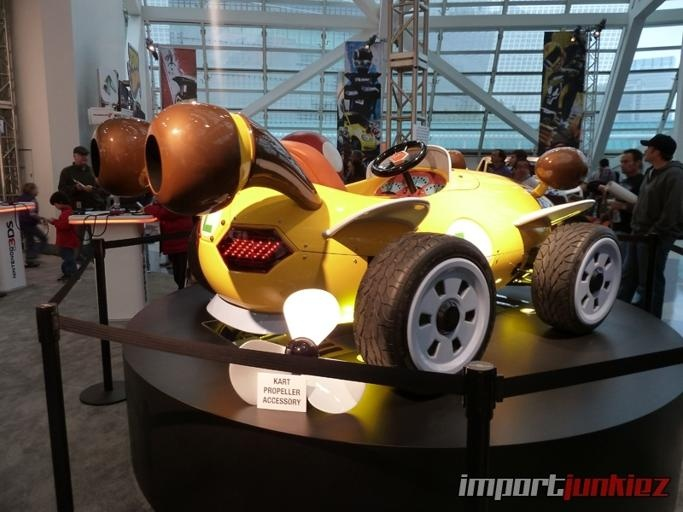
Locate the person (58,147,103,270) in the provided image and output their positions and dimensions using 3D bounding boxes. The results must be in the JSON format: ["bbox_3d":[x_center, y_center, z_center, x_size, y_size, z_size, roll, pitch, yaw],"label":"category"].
[{"bbox_3d":[-3.727,-0.774,7.680,0.572,1.613,0.524,-16,29,-43],"label":"person"}]

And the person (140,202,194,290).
[{"bbox_3d":[-1.740,-0.081,5.227,1.068,0.364,0.383,30,21,33],"label":"person"}]

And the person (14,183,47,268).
[{"bbox_3d":[-4.591,-0.387,7.812,0.291,1.377,2.012,-8,21,-31],"label":"person"}]

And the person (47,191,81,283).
[{"bbox_3d":[-3.491,-0.192,6.661,0.272,1.216,1.228,-7,20,-28],"label":"person"}]
